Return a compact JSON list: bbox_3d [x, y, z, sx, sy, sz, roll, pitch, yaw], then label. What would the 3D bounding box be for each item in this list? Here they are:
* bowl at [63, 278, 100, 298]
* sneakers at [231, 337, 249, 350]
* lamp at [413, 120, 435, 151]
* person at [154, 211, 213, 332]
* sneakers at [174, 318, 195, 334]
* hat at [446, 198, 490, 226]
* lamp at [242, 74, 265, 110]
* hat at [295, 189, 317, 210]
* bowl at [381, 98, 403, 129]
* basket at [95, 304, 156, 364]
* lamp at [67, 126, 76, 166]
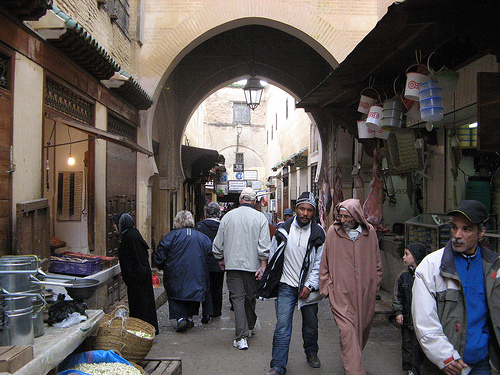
[{"bbox_3d":[-1.527,0.925,4.138,0.236,0.095,0.242,0,-1,0],"label":"bowl"},{"bbox_3d":[-0.118,2.027,5.940,0.207,0.132,0.298,0,-2,-2],"label":"sneakers"},{"bbox_3d":[3.100,-0.903,7.761,0.243,0.414,0.266,-8,-1,6],"label":"lamp"},{"bbox_3d":[-0.991,1.238,6.789,0.841,1.758,0.461,0,-1,-5],"label":"person"},{"bbox_3d":[-0.961,2.010,6.710,0.265,0.195,0.321,0,-2,-8],"label":"sneakers"},{"bbox_3d":[1.725,0.181,3.555,0.325,0.176,0.238,9,-1,-32],"label":"hat"},{"bbox_3d":[0.114,-2.454,11.434,0.442,0.983,0.515,2,-2,-2],"label":"lamp"},{"bbox_3d":[0.693,0.141,5.420,0.159,0.185,0.229,6,-13,22],"label":"hat"},{"bbox_3d":[2.022,-1.043,6.668,0.344,0.406,0.372,3,-19,1],"label":"bowl"},{"bbox_3d":[-1.341,1.541,4.796,0.520,0.355,0.637,23,-7,-26],"label":"basket"},{"bbox_3d":[-3.028,-0.681,7.611,0.154,0.636,0.130,-1,-2,32],"label":"lamp"}]
